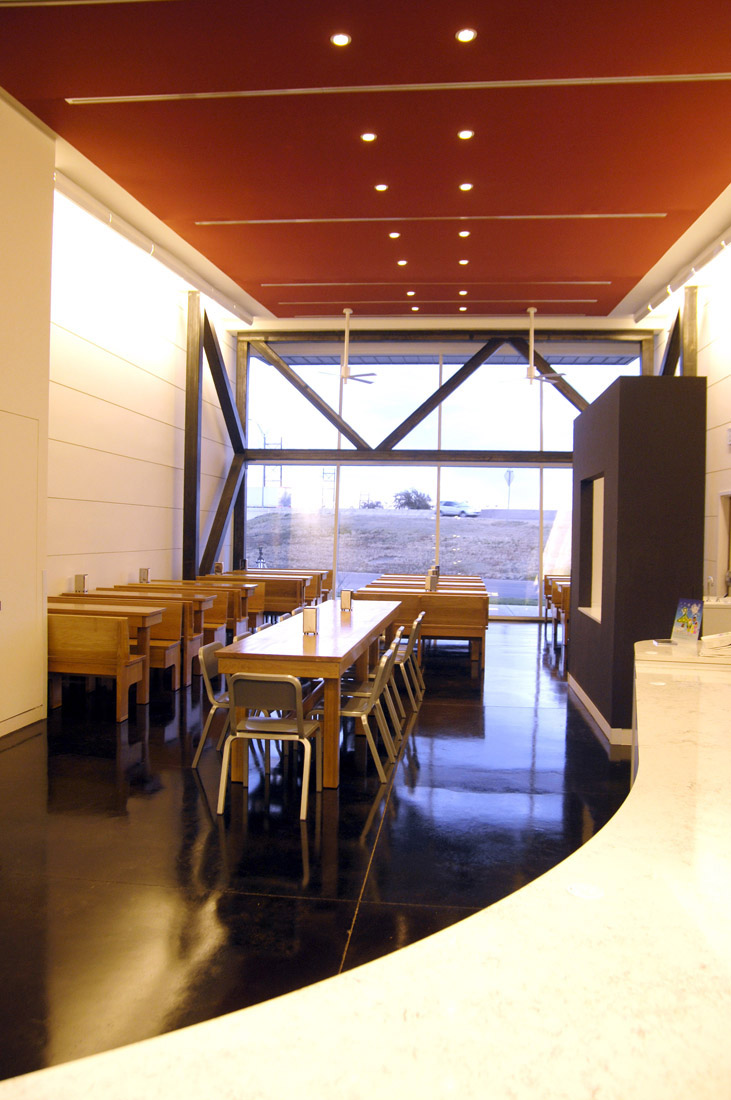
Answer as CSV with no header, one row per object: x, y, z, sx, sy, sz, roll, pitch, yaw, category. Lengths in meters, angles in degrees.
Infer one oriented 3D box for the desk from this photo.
-0.333,0.905,5.442,0.717,0.864,2.065,1,1,8,desk

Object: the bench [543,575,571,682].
2.524,0.844,10.721,0.315,0.610,3.624,1,1,12,bench
